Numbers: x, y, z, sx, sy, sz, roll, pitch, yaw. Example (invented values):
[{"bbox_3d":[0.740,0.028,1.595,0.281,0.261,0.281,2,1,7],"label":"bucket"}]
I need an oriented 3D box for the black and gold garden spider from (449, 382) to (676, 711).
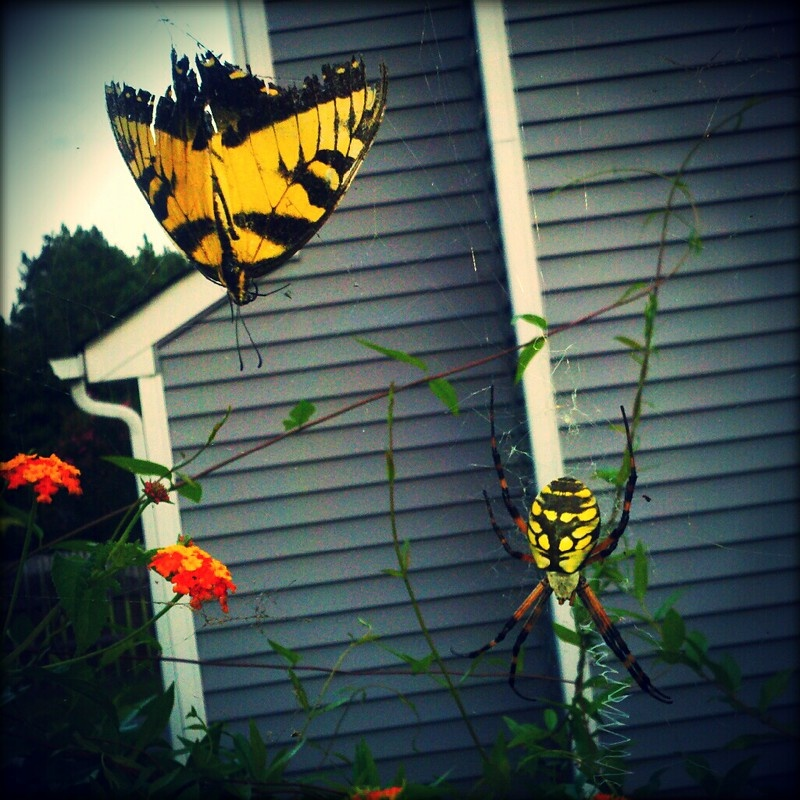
[{"bbox_3d":[0.451,0.474,4.534,0.741,0.197,1.174,-2,-68,17],"label":"black and gold garden spider"}]

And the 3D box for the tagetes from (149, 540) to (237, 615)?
[{"bbox_3d":[-0.604,0.489,4.190,0.262,0.259,0.144,21,-58,-13],"label":"tagetes"}]
